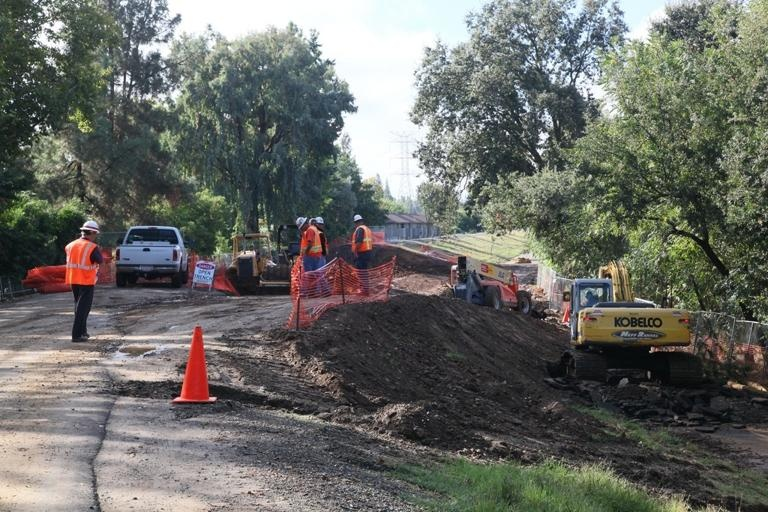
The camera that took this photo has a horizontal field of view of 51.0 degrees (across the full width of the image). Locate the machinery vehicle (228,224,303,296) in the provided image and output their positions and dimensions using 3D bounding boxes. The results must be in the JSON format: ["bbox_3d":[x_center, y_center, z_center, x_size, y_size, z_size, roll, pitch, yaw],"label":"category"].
[{"bbox_3d":[-6.005,0.286,38.388,2.694,3.197,11.390,2,-4,-11],"label":"machinery vehicle"}]

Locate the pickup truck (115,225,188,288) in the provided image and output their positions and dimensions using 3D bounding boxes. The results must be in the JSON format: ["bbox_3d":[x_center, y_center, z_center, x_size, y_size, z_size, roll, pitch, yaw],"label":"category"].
[{"bbox_3d":[-10.304,0.029,35.532,2.684,2.763,5.521,1,1,-15],"label":"pickup truck"}]

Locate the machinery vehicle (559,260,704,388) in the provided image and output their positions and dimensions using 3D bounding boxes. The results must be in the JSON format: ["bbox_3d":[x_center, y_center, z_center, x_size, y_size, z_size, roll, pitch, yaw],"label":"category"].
[{"bbox_3d":[8.149,2.267,28.383,3.674,4.777,6.477,-1,-9,6],"label":"machinery vehicle"}]
